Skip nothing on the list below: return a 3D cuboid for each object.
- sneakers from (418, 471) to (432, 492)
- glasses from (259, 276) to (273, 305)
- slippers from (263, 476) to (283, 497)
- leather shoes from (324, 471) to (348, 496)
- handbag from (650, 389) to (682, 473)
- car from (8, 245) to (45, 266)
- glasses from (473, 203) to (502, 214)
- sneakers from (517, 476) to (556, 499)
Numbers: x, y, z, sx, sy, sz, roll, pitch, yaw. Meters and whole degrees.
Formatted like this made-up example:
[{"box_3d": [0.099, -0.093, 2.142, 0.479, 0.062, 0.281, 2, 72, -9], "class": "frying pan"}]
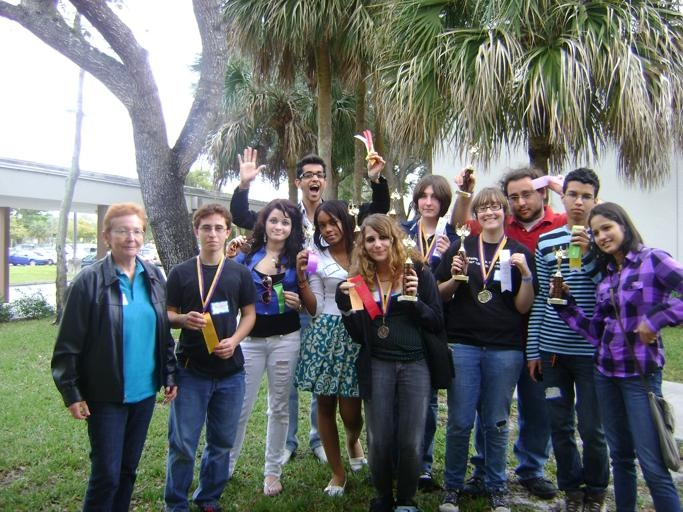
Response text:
[{"box_3d": [0.758, 1.972, 4.634, 0.124, 0.126, 0.221, -3, -6, 35], "class": "sneakers"}, {"box_3d": [-0.638, 0.279, 4.556, 0.050, 0.163, 0.168, -21, -35, -21], "class": "glasses"}, {"box_3d": [-0.592, 2.001, 4.568, 0.226, 0.093, 0.104, -19, -45, 42], "class": "slippers"}, {"box_3d": [-0.054, 1.980, 4.532, 0.184, 0.123, 0.122, 1, -5, -2], "class": "leather shoes"}, {"box_3d": [2.282, 1.232, 3.686, 0.194, 0.546, 0.185, 2, -5, -22], "class": "handbag"}, {"box_3d": [-18.165, -0.023, 30.599, 1.684, 0.930, 1.036, -4, 4, -24], "class": "car"}, {"box_3d": [1.233, -0.395, 4.411, 0.215, 0.087, 0.068, -1, -5, 17], "class": "glasses"}, {"box_3d": [1.696, 2.000, 4.603, 0.112, 0.130, 0.269, 2, -7, -30], "class": "sneakers"}]
